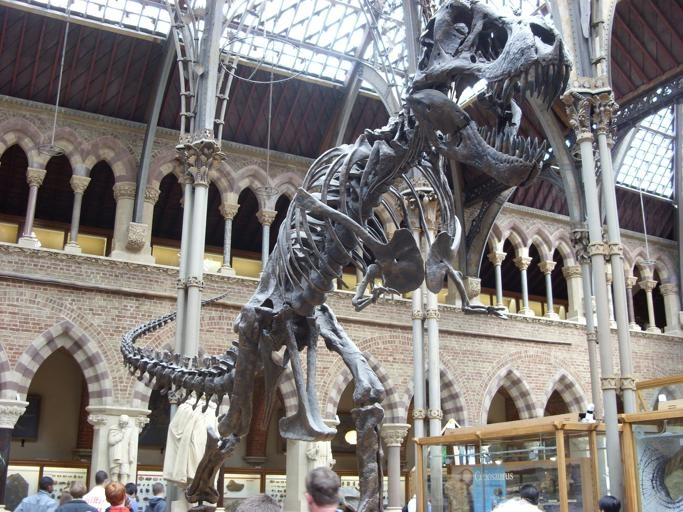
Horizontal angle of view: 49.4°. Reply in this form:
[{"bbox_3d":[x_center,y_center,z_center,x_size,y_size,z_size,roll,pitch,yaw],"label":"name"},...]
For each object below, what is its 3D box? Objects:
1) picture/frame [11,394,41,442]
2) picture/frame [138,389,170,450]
[{"bbox_3d":[-8.424,4.287,19.890,0.651,1.266,0.253,9,-19,-28],"label":"picture/frame"},{"bbox_3d":[-5.334,4.635,21.089,0.735,1.577,0.504,6,-18,-21],"label":"picture/frame"}]
